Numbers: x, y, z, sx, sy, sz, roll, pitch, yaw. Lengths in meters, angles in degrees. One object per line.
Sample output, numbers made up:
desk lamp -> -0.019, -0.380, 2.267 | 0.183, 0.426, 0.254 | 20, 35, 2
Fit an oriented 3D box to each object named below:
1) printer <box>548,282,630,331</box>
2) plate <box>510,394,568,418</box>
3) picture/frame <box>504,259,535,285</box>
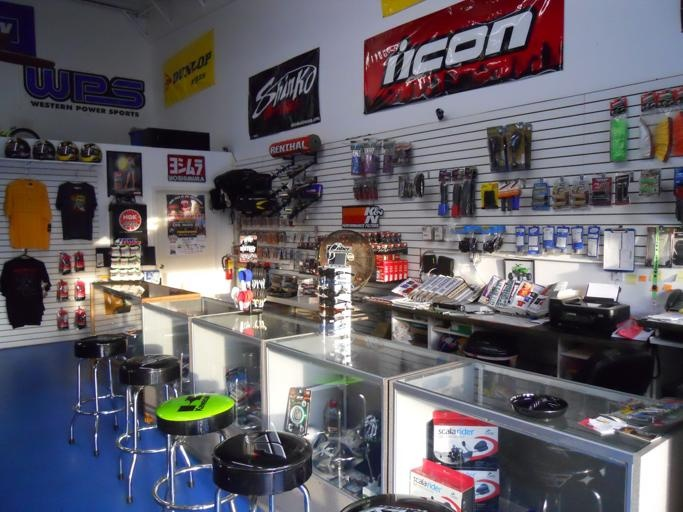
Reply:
printer -> 2.017, 0.349, 3.889 | 0.433, 0.334, 0.453 | 1, 0, -36
plate -> 0.853, 0.641, 2.082 | 0.235, 0.037, 0.209 | 3, 9, 20
picture/frame -> 1.687, 0.153, 4.547 | 0.198, 0.200, 0.013 | -21, -14, 36
